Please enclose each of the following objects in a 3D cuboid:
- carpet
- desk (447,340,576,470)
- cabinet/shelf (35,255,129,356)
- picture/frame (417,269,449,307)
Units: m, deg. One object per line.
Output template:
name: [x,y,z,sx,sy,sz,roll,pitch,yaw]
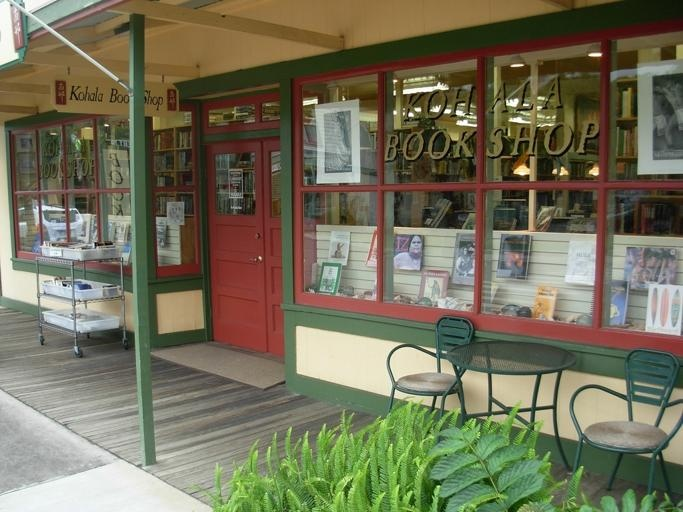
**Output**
carpet: [-1.362,1.256,6.618,2.119,0.064,0.816,5,9,38]
desk: [1.189,1.149,3.960,0.846,0.913,0.953,3,8,30]
cabinet/shelf: [-3.613,0.636,7.617,0.980,1.357,1.658,-4,8,-44]
picture/frame: [0.798,0.279,4.781,0.337,0.440,0.044,1,1,41]
